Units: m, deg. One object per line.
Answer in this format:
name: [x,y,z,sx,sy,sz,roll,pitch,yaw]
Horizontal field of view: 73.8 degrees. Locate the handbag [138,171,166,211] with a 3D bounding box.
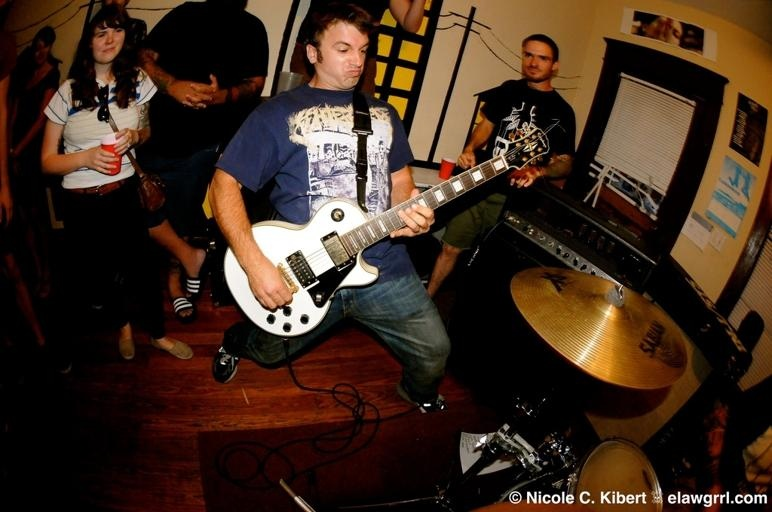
handbag: [-1.595,-0.431,3.470,0.170,0.226,0.056,-24,9,-31]

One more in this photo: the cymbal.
cymbal: [1.101,0.455,2.766,0.698,0.187,0.723,27,49,17]

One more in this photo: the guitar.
guitar: [0.017,-0.154,3.376,1.542,0.560,0.167,-26,11,-5]

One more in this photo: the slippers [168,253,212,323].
slippers: [-1.548,0.270,3.988,0.219,0.628,0.151,6,14,25]

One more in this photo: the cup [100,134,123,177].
cup: [-1.719,-0.627,3.198,0.143,0.195,0.147,18,41,-17]

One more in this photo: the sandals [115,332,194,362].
sandals: [-1.601,0.641,3.544,0.410,0.097,0.219,22,78,-5]

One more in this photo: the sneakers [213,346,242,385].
sneakers: [-1.085,0.746,3.489,0.155,0.106,0.288,19,66,-24]
